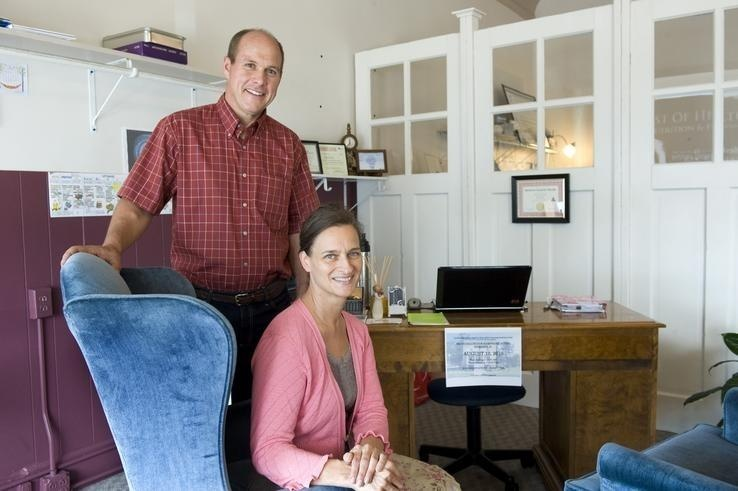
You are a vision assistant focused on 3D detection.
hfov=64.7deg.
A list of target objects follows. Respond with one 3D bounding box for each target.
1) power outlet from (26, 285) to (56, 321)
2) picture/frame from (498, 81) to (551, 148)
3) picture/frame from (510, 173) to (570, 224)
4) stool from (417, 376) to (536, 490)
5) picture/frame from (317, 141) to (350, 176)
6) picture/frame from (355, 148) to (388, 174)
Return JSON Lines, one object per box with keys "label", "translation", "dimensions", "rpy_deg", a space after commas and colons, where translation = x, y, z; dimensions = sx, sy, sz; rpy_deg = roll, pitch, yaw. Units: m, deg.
{"label": "power outlet", "translation": [-1.865, 0.331, 3.309], "dimensions": [0.049, 0.181, 0.117], "rpy_deg": [2, 4, 39]}
{"label": "picture/frame", "translation": [1.240, -1.029, 4.577], "dimensions": [0.531, 0.383, 0.018], "rpy_deg": [-4, 5, -6]}
{"label": "picture/frame", "translation": [1.346, -0.368, 4.518], "dimensions": [0.405, 0.361, 0.029], "rpy_deg": [0, 0, 26]}
{"label": "stool", "translation": [0.667, 1.089, 3.660], "dimensions": [0.658, 0.495, 0.661], "rpy_deg": [1, 0, 8]}
{"label": "picture/frame", "translation": [-0.302, -0.707, 4.786], "dimensions": [0.360, 0.363, 0.027], "rpy_deg": [-1, -9, -44]}
{"label": "picture/frame", "translation": [0.014, -0.723, 5.035], "dimensions": [0.237, 0.219, 0.027], "rpy_deg": [0, -7, -13]}
